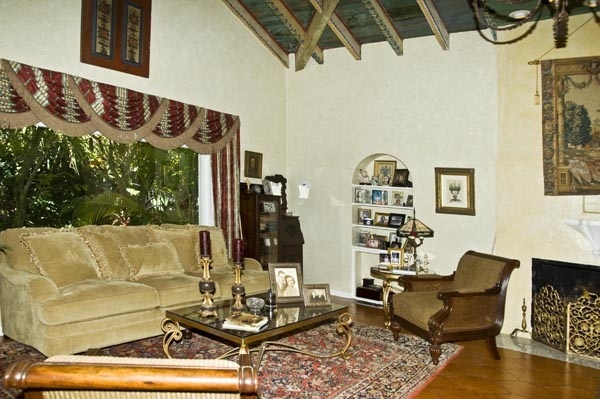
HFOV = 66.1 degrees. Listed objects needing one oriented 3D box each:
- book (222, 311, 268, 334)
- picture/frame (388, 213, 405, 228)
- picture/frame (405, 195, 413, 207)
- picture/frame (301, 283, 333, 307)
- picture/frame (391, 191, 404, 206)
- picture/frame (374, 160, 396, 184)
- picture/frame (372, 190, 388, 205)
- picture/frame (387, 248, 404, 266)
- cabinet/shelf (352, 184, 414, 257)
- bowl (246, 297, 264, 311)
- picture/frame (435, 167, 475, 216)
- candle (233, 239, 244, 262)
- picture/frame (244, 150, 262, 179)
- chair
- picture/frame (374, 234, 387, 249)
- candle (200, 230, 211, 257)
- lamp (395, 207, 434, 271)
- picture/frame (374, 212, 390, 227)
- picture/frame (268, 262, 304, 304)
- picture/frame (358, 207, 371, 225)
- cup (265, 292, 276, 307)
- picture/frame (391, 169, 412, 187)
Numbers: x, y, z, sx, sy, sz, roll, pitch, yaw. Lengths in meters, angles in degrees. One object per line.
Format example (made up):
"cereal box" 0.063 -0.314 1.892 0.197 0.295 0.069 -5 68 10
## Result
"book" -0.590 1.289 4.913 0.462 0.065 0.418 5 12 16
"picture/frame" 1.575 0.352 7.515 0.229 0.234 0.025 -3 -27 38
"picture/frame" 1.794 0.016 7.575 0.116 0.161 0.235 4 12 13
"picture/frame" 0.186 1.141 5.467 0.327 0.254 0.026 2 -17 -11
"picture/frame" 1.635 -0.020 7.692 0.193 0.206 0.350 4 12 11
"picture/frame" 1.457 -0.458 7.854 0.413 0.481 0.036 0 -5 34
"picture/frame" 1.361 -0.039 7.843 0.239 0.238 0.131 1 2 38
"picture/frame" 1.411 0.858 6.815 0.230 0.237 0.026 8 -5 44
"cabinet/shelf" 1.392 0.337 7.621 1.198 1.127 0.302 0 -2 41
"bowl" -0.507 1.176 5.216 0.157 0.104 0.162 2 -8 0
"picture/frame" 2.347 -0.119 6.916 0.716 0.925 0.074 0 0 40
"candle" -0.717 0.598 5.300 0.109 0.291 0.088 -1 13 -12
"picture/frame" -0.836 -0.615 8.016 0.039 0.538 0.512 -2 -3 36
"chair" 1.936 1.323 5.817 1.509 1.224 1.297 2 3 4
"picture/frame" 1.348 0.698 7.676 0.187 0.124 0.199 2 5 31
"candle" -1.073 0.495 5.198 0.115 0.303 0.179 -2 13 -15
"lamp" 1.697 0.632 6.824 0.526 0.822 0.488 -2 4 -32
"picture/frame" 1.386 0.346 7.767 0.249 0.219 0.018 1 -17 41
"picture/frame" -0.174 1.009 5.511 0.475 0.545 0.042 0 -20 -18
"picture/frame" 1.102 0.301 7.947 0.291 0.398 0.054 0 -2 21
"cup" -0.338 1.157 5.338 0.133 0.151 0.131 1 4 0
"picture/frame" 1.692 -0.347 7.619 0.278 0.307 0.171 -4 -13 43
